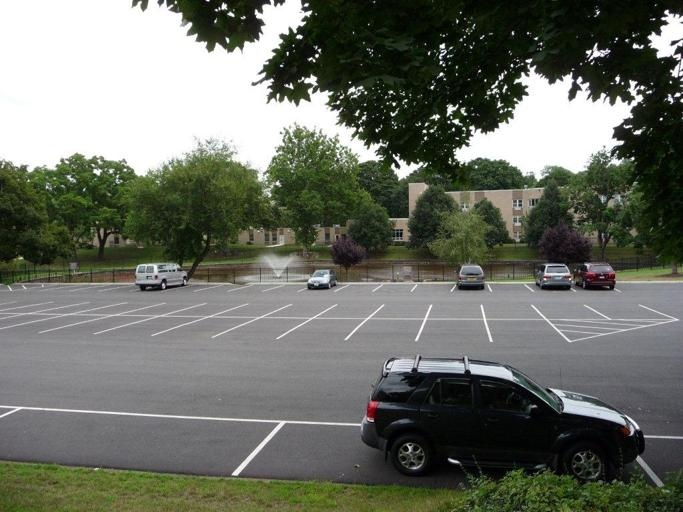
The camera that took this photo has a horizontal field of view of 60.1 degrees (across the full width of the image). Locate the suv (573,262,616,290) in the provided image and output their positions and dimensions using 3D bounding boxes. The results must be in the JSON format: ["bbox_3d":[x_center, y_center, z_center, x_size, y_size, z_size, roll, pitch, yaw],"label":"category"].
[{"bbox_3d":[15.513,1.191,36.631,1.259,1.146,2.966,0,5,13],"label":"suv"}]

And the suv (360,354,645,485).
[{"bbox_3d":[2.897,3.140,11.107,4.719,2.075,2.157,-2,3,11],"label":"suv"}]

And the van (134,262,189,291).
[{"bbox_3d":[-12.949,1.439,42.412,1.503,1.871,4.229,0,3,15],"label":"van"}]

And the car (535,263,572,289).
[{"bbox_3d":[13.104,1.275,36.599,1.624,1.544,2.309,-1,3,7],"label":"car"}]

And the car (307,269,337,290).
[{"bbox_3d":[-1.348,1.668,41.124,1.360,1.154,3.180,0,3,11],"label":"car"}]
